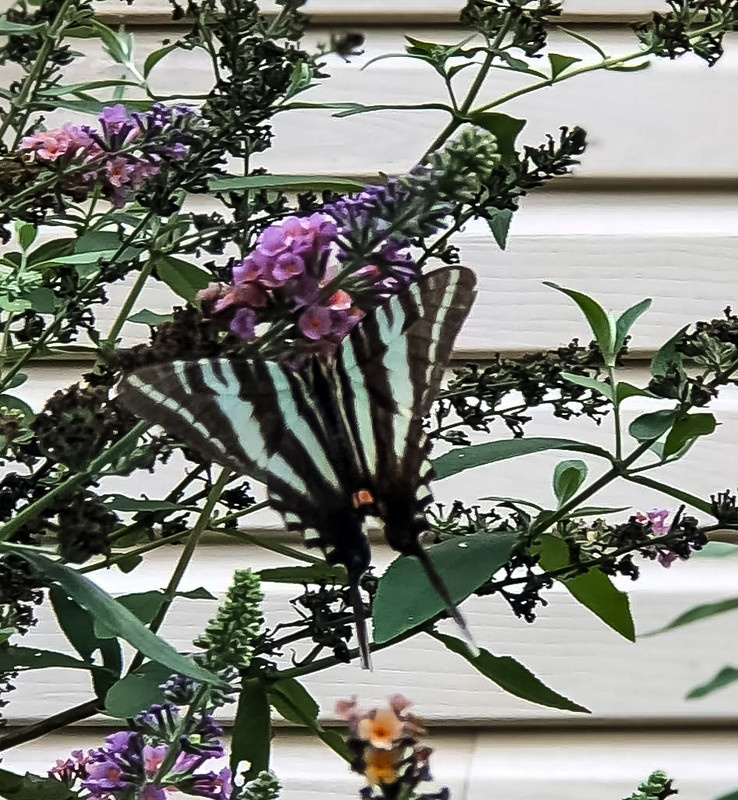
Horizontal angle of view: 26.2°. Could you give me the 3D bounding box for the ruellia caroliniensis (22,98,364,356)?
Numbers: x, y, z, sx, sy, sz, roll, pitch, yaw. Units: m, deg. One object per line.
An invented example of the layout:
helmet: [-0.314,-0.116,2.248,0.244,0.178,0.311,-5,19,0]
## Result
ruellia caroliniensis: [-0.165,-0.172,1.546,0.333,0.272,0.201,-3,15,-3]
